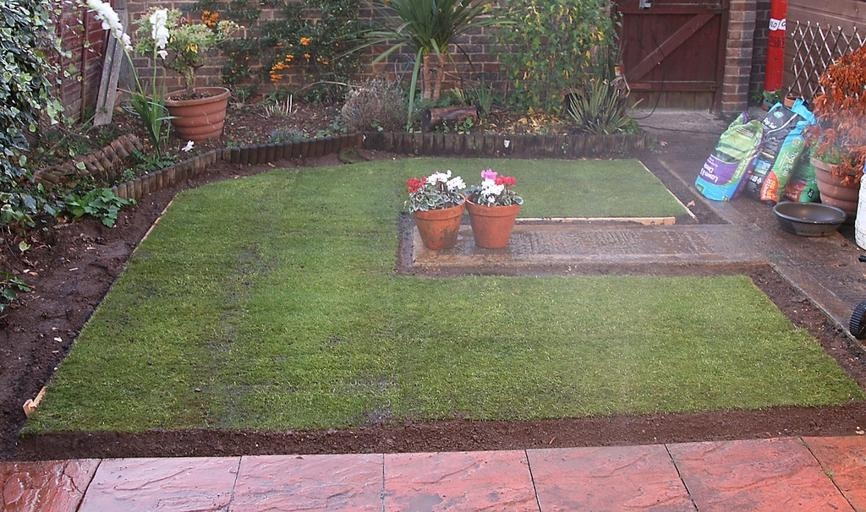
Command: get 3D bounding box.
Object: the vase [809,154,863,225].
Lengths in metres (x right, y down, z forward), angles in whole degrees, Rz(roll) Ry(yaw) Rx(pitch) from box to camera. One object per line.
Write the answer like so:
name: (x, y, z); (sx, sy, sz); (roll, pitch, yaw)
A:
vase: (4.261, -0.685, 6.775); (0.566, 0.432, 0.584); (19, 21, 41)

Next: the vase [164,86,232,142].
vase: (-3.119, -1.840, 8.519); (0.904, 0.608, 0.898); (-2, 23, 1)

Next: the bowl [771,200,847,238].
bowl: (3.943, -0.374, 6.723); (0.668, 0.264, 0.466); (12, 25, 25)

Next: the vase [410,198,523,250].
vase: (0.335, -0.291, 6.417); (0.795, 0.305, 0.563); (-1, 11, 1)
